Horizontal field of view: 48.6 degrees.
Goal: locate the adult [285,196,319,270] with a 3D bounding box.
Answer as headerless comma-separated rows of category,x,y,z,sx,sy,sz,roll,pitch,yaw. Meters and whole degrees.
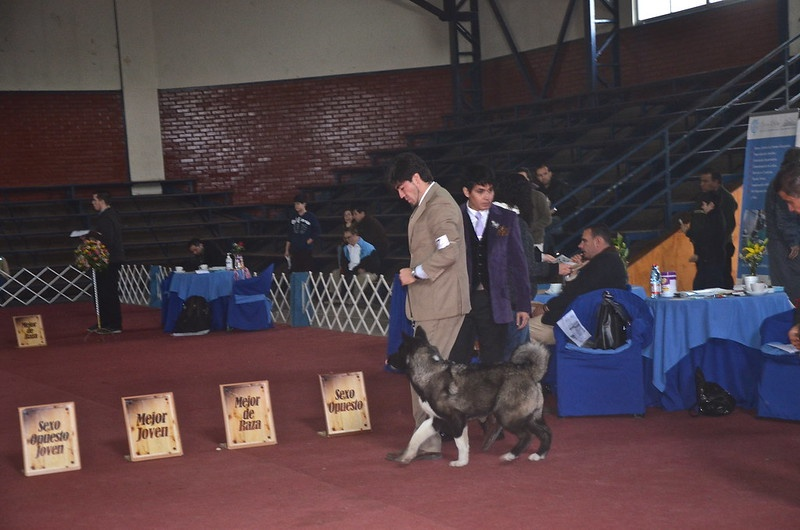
adult,-1.631,-0.521,14.887,0.498,0.978,0.702,-7,3,-21

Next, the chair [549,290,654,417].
chair,2.088,0.935,9.438,1.251,1.447,1.152,-1,-4,8

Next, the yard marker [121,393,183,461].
yard marker,-2.381,1.593,8.508,0.524,0.670,0.048,-10,-3,-21

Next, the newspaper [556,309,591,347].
newspaper,1.732,0.644,8.922,0.258,0.363,0.112,-41,-8,13

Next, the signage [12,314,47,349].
signage,-5.305,0.966,12.759,0.406,0.459,0.286,-7,3,-20

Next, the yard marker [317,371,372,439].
yard marker,-0.562,1.432,8.831,0.540,0.622,0.364,-6,10,-25

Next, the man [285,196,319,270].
man,-1.637,-0.520,14.894,0.506,0.978,0.650,-7,3,-19

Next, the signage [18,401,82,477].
signage,-3.286,1.675,8.328,0.578,0.764,0.061,-6,-4,-18

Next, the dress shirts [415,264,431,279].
dress shirts,0.199,0.078,8.165,0.108,0.098,0.127,-6,-41,36

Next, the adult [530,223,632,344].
adult,1.875,0.171,9.262,0.737,1.096,0.542,4,-26,25

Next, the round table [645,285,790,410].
round table,3.222,0.832,9.002,1.193,0.878,1.243,-2,-1,0

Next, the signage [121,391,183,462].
signage,-2.383,1.596,8.522,0.527,0.682,0.048,-10,-3,-21

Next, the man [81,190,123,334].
man,-4.364,-0.018,13.270,0.471,1.910,0.504,-7,3,-24

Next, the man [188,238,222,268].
man,-2.976,-0.193,13.703,0.588,0.381,0.507,-5,2,12

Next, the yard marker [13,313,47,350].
yard marker,-5.361,0.993,12.868,0.430,0.502,0.027,-9,-15,-37

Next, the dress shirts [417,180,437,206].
dress shirts,0.242,-0.681,8.284,0.054,0.197,0.205,36,39,11

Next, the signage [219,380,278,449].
signage,-1.489,1.500,8.662,0.559,0.685,0.054,-7,-2,-22

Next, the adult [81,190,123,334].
adult,-4.368,-0.018,13.278,0.471,1.910,0.522,-7,3,-24

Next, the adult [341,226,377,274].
adult,-0.654,-0.246,14.434,0.445,0.563,0.651,-7,3,-24

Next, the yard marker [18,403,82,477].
yard marker,-3.279,1.679,8.319,0.582,0.770,0.062,-6,-4,-18

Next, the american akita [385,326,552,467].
american akita,0.652,1.263,8.236,1.212,1.030,0.415,-2,-3,3

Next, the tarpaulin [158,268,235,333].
tarpaulin,-3.040,0.525,13.298,1.096,0.851,0.745,-1,-7,2

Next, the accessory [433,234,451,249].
accessory,0.386,-0.223,8.095,0.114,0.088,0.116,0,0,-7

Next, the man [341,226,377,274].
man,-0.647,-0.247,14.438,0.460,0.563,0.651,-7,3,-24

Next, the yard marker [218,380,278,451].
yard marker,-1.490,1.510,8.668,0.584,0.741,0.047,-6,0,-18

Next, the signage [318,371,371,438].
signage,-0.562,1.421,8.815,0.564,0.721,0.069,-6,-2,-25
